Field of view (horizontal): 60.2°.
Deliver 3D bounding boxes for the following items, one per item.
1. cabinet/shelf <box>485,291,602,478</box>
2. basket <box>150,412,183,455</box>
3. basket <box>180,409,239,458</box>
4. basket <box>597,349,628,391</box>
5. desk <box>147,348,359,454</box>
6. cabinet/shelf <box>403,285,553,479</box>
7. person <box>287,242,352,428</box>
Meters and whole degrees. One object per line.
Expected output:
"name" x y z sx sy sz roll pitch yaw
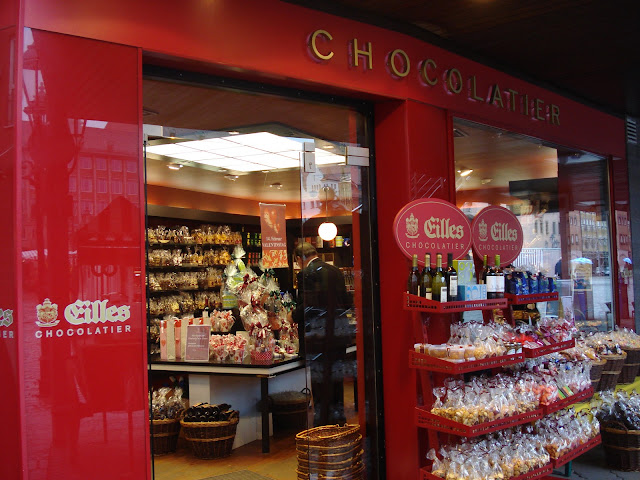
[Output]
"cabinet/shelf" 1.953 1.315 4.868 0.906 1.625 1.689 -3 -1 35
"basket" -1.693 2.125 6.079 0.295 0.394 0.194 -1 -4 -25
"basket" -1.184 2.093 6.053 0.591 0.393 0.620 -1 -2 -4
"basket" 3.196 1.417 6.139 0.371 0.304 0.382 -1 0 -3
"desk" -0.721 1.651 5.677 1.494 0.583 1.124 -1 -2 31
"cabinet/shelf" 1.288 1.153 4.680 1.185 1.491 0.786 -1 -4 -34
"person" 0.030 0.803 4.696 0.237 1.531 0.564 -5 -4 33
